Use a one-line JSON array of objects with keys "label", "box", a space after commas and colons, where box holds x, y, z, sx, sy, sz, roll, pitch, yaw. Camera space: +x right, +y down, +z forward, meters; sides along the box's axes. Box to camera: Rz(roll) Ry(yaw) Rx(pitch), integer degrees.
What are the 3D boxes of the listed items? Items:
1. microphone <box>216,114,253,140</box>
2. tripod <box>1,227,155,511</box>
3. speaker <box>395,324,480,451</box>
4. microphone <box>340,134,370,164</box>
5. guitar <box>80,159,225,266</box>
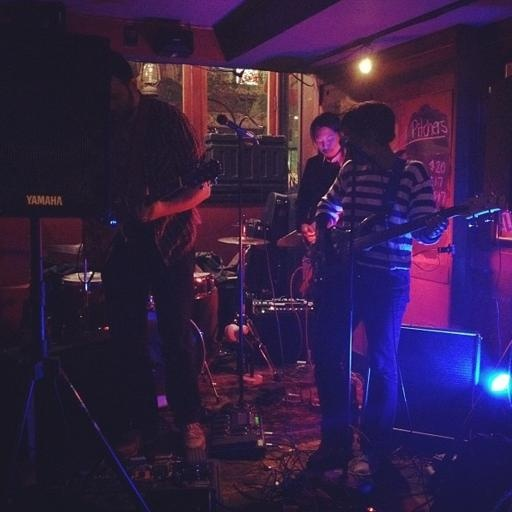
[{"label": "microphone", "box": [-0.114, -0.798, 3.487, 0.214, 0.126, 0.595, 5, 7, -1]}, {"label": "tripod", "box": [-0.849, 0.580, 2.781, 0.700, 1.366, 0.812, -9, 14, -18]}, {"label": "speaker", "box": [0.985, 0.727, 3.096, 0.563, 0.886, 0.258, 1, -2, 13]}, {"label": "microphone", "box": [0.505, -0.590, 3.087, 0.101, 0.066, 0.301, -6, 32, -9]}, {"label": "guitar", "box": [-0.369, -0.297, 2.946, 0.420, 0.171, 0.609, 23, 44, 37]}]
